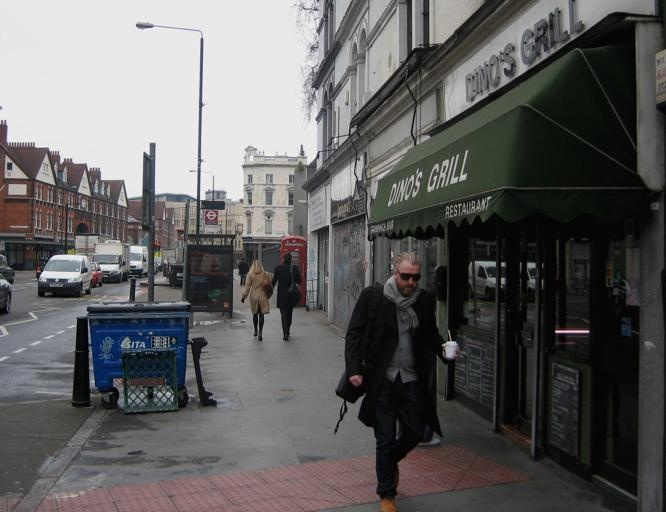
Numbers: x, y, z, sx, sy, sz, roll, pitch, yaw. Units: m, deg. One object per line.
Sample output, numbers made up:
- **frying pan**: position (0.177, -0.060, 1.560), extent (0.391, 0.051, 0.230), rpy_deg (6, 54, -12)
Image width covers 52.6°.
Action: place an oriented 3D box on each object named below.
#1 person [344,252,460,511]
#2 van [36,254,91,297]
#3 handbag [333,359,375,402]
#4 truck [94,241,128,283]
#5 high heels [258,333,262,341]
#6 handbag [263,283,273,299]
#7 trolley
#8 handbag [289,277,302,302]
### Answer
- **person**: position (0.539, 1.120, 6.076), extent (0.996, 2.239, 0.494), rpy_deg (-1, 0, 0)
- **van**: position (-12.388, 0.895, 31.545), extent (1.444, 1.533, 2.990), rpy_deg (-1, -4, -4)
- **handbag**: position (0.190, 1.137, 6.054), extent (0.310, 0.362, 0.234), rpy_deg (-1, 0, 9)
- **truck**: position (-15.699, 0.426, 47.582), extent (1.460, 2.308, 4.030), rpy_deg (0, -2, -4)
- **high heels**: position (-1.715, 1.936, 15.900), extent (0.083, 0.170, 0.097), rpy_deg (0, 1, -15)
- **handbag**: position (-1.595, 0.831, 16.479), extent (0.222, 0.544, 0.403), rpy_deg (-1, -6, -8)
- **trolley**: position (-2.618, 1.409, 9.585), extent (1.369, 1.827, 1.219), rpy_deg (0, -5, -8)
- **handbag**: position (-0.949, 0.827, 16.682), extent (0.200, 0.614, 0.640), rpy_deg (-9, -44, 2)
